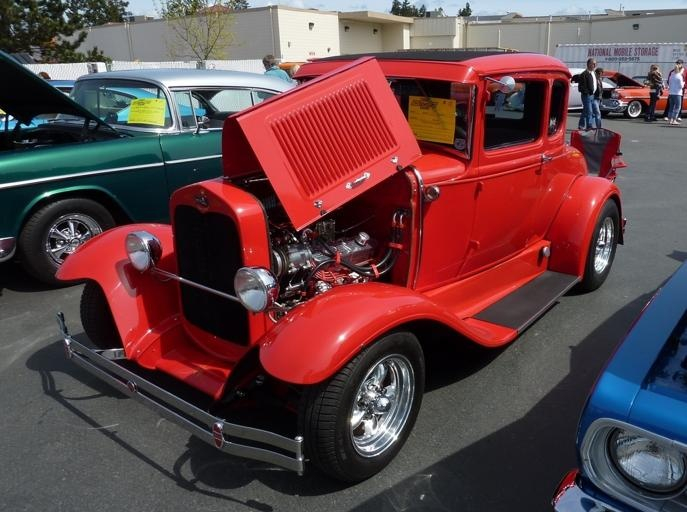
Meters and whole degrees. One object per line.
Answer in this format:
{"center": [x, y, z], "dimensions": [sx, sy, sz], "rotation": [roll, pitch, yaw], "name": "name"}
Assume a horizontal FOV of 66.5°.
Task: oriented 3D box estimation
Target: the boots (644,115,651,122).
{"center": [10.210, -4.544, 17.540], "dimensions": [0.144, 0.182, 0.431], "rotation": [6, 33, 25], "name": "boots"}

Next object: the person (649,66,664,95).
{"center": [10.333, -5.727, 17.257], "dimensions": [0.462, 0.908, 0.497], "rotation": [10, 27, 29], "name": "person"}

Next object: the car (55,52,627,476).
{"center": [0.403, -0.218, 4.210], "dimensions": [4.409, 2.027, 2.413], "rotation": [-19, 24, -41], "name": "car"}
